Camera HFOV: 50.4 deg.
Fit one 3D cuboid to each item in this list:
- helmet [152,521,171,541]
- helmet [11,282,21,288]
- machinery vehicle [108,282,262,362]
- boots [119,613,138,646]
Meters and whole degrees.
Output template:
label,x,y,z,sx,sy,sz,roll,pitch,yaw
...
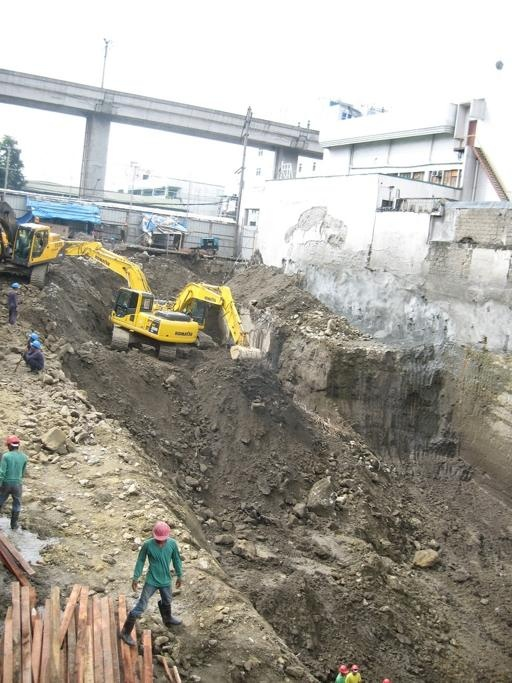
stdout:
label,x,y,z,sx,sy,sz,roll,pitch,yaw
helmet,-0.897,1.785,5.187,0.174,0.086,0.227,-1,38,-5
helmet,-6.392,-1.527,14.519,0.213,0.088,0.275,18,3,-9
machinery vehicle,-2.021,-0.668,16.435,4.723,2.048,2.480,9,8,29
boots,-1.177,2.643,5.072,0.131,0.332,0.164,7,5,-21
